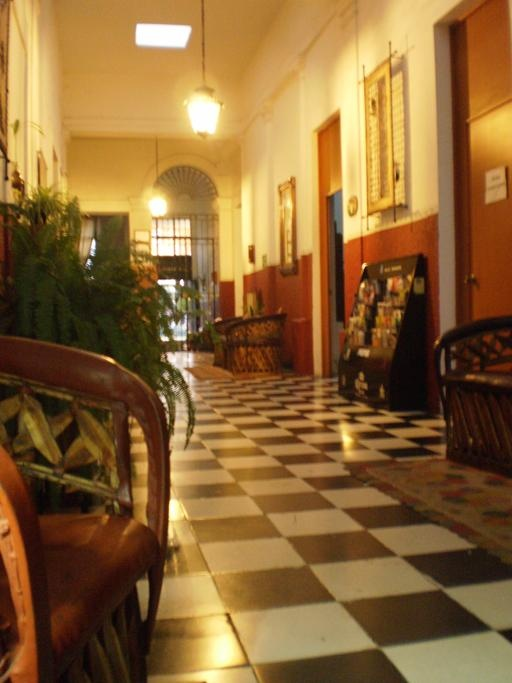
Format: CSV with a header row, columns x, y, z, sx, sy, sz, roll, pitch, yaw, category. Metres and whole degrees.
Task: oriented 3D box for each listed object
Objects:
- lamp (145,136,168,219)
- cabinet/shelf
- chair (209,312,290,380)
x,y,z,sx,sy,sz,roll,pitch,yaw,category
-2.250,-3.619,11.869,0.415,1.775,1.294,-1,0,-11,lamp
1.198,-0.077,4.879,0.401,1.604,1.408,1,0,-9,cabinet/shelf
-0.059,0.060,7.758,0.830,0.914,0.896,2,1,1,chair
